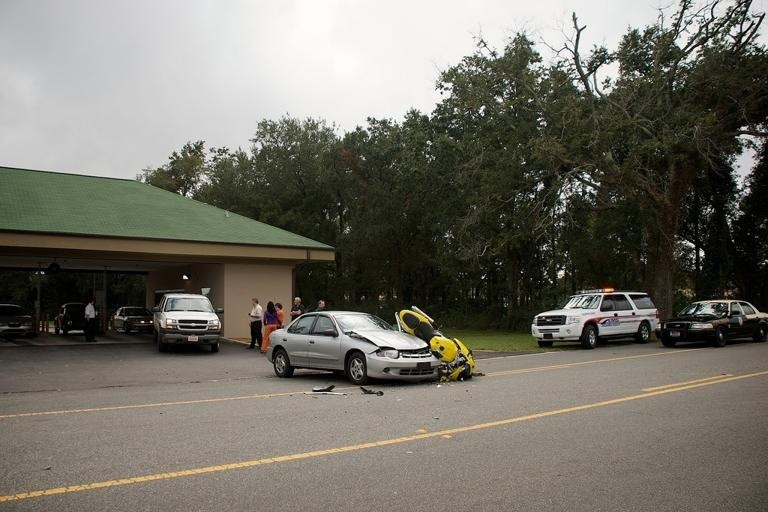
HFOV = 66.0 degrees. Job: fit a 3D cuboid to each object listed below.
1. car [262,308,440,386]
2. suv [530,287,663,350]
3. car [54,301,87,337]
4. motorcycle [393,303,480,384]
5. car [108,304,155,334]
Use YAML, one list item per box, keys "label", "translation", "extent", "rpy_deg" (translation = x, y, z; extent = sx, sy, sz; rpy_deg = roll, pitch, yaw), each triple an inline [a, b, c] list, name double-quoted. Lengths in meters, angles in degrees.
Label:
- label: "car"
  translation: [-1.133, 2.568, 16.557]
  extent: [1.958, 1.507, 4.191]
  rpy_deg: [8, -12, -44]
- label: "suv"
  translation: [9.856, 2.855, 27.074]
  extent: [5.797, 2.553, 1.560]
  rpy_deg: [2, -7, -30]
- label: "car"
  translation: [-19.133, 3.775, 36.164]
  extent: [1.246, 1.964, 2.638]
  rpy_deg: [2, -8, -35]
- label: "motorcycle"
  translation: [1.487, 2.381, 16.702]
  extent: [2.472, 0.958, 1.509]
  rpy_deg: [38, 19, 22]
- label: "car"
  translation: [-15.411, 3.848, 36.453]
  extent: [1.598, 1.799, 5.284]
  rpy_deg: [2, -9, -32]
